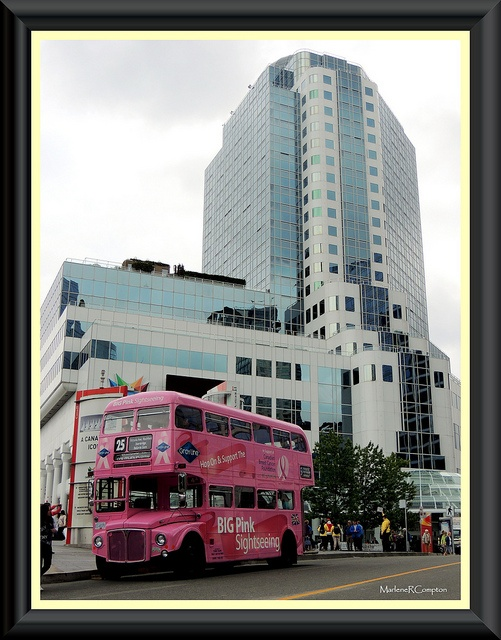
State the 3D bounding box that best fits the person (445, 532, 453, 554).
[{"bbox_3d":[10.856,12.439,39.588,0.254,1.029,0.948,-7,-15,24],"label":"person"}]
